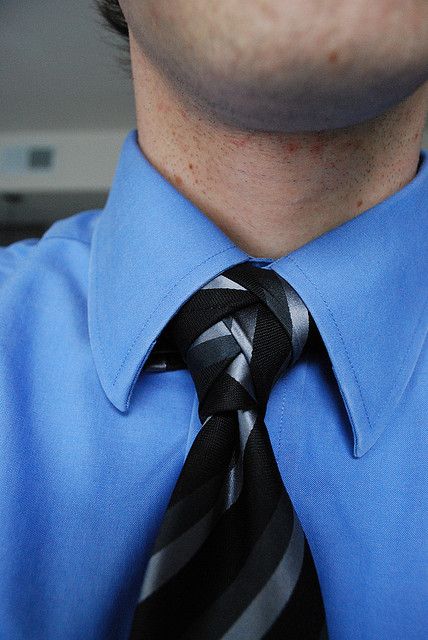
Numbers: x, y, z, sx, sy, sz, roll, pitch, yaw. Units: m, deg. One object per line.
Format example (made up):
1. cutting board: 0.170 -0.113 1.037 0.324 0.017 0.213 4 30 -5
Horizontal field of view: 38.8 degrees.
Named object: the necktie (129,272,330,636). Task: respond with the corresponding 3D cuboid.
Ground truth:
1. necktie: 0.005 0.098 0.457 0.117 0.082 0.259 -2 61 7
